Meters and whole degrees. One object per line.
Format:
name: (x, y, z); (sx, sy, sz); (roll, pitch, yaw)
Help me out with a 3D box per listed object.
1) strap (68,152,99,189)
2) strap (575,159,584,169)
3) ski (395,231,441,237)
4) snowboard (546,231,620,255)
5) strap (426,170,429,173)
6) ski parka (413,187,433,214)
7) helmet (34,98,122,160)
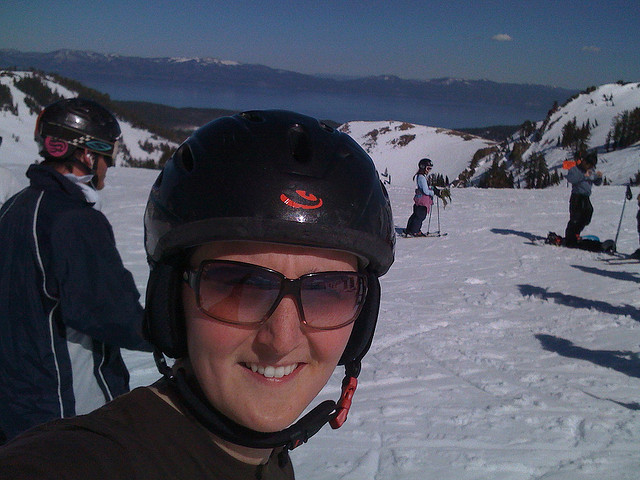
strap: (-1.949, -0.570, 5.341); (0.195, 0.279, 0.147); (-1, -4, -10)
strap: (5.279, -1.554, 13.218); (0.150, 0.215, 0.076); (-14, -1, 10)
ski: (2.279, -0.135, 15.158); (1.502, 0.159, 0.207); (1, 6, -45)
snowboard: (5.112, 0.070, 12.775); (0.559, 0.352, 1.493); (-3, 0, -21)
strap: (2.401, -1.546, 14.658); (0.046, 0.063, 0.058); (-1, 33, 4)
ski parka: (2.307, -0.903, 14.791); (0.364, 0.543, 0.523); (3, -15, 0)
helmet: (-2.127, -0.925, 5.588); (0.659, 0.530, 0.488); (23, -13, -30)
